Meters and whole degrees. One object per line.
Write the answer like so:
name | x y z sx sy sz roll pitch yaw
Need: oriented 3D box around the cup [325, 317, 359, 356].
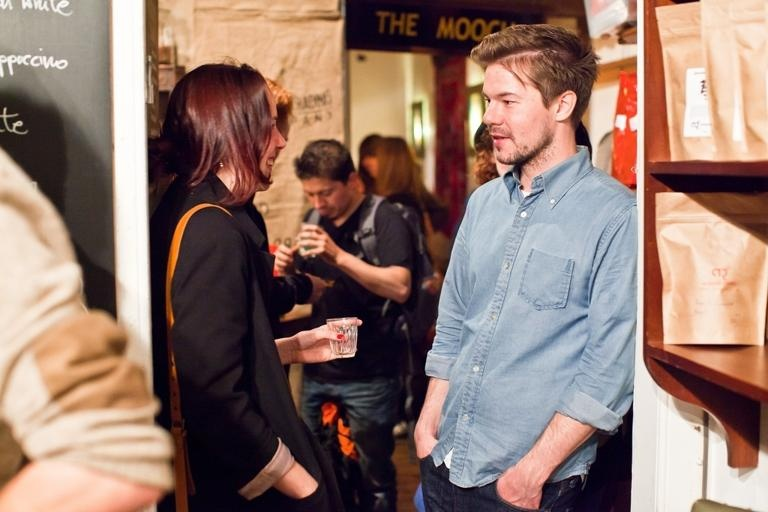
cup | -0.130 0.274 2.358 0.125 0.133 0.122 -1 2 0
